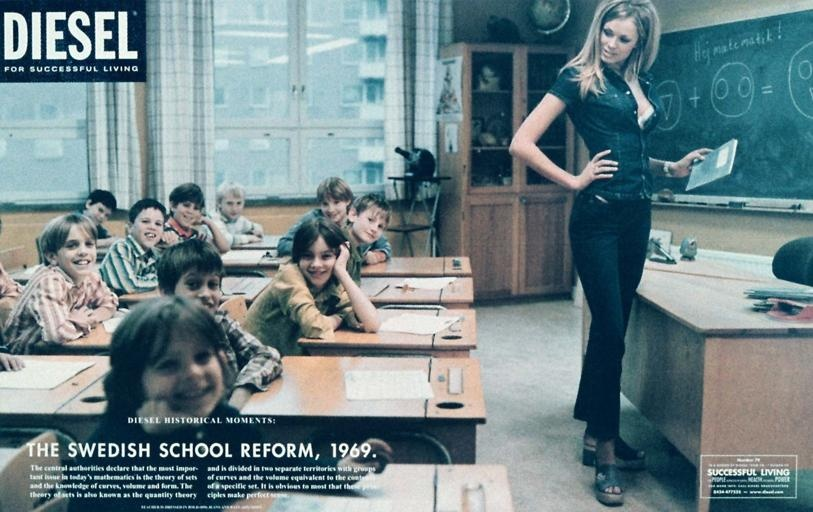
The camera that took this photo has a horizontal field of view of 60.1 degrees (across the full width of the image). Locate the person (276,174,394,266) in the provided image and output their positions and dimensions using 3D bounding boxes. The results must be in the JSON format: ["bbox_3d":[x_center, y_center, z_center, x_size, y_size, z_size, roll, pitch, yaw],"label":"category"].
[{"bbox_3d":[-0.432,-0.211,4.399,0.795,0.516,0.426,3,-10,-2],"label":"person"}]

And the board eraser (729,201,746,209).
[{"bbox_3d":[2.282,-0.337,4.821,0.082,0.052,0.043,-1,-1,42],"label":"board eraser"}]

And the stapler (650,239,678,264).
[{"bbox_3d":[1.417,-0.026,3.919,0.081,0.110,0.220,-5,18,-20],"label":"stapler"}]

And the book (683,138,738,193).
[{"bbox_3d":[1.298,-0.397,2.974,0.162,0.196,0.358,5,14,21],"label":"book"}]

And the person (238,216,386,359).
[{"bbox_3d":[-0.477,0.097,3.183,0.471,0.728,0.686,-4,14,-34],"label":"person"}]

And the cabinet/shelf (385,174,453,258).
[{"bbox_3d":[0.098,-0.375,6.379,0.747,0.894,0.624,0,11,-15],"label":"cabinet/shelf"}]

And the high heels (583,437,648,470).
[{"bbox_3d":[0.956,0.927,3.352,0.368,0.148,0.130,-1,1,11],"label":"high heels"}]
